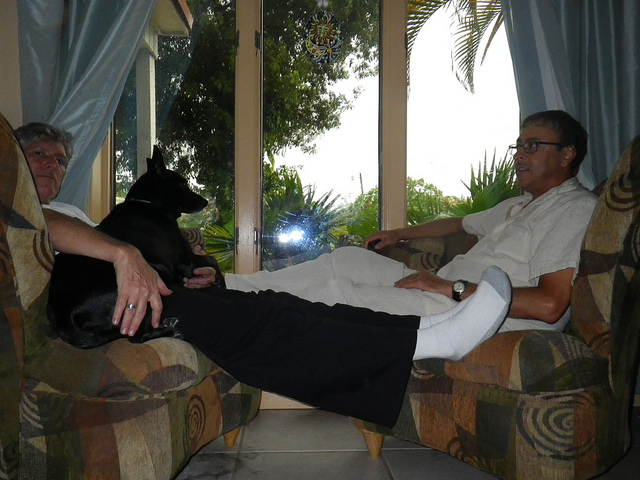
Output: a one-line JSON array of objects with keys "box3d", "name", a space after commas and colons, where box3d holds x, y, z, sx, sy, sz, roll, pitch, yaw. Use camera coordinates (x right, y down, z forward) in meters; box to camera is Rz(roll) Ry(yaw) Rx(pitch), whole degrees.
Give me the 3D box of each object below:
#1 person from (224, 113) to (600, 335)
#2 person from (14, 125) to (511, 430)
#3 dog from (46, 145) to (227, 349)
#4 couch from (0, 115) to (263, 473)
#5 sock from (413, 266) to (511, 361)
[{"box3d": [0.436, 0.029, 2.198, 1.460, 0.943, 0.856, 1, 20, 6], "name": "person"}, {"box3d": [-0.171, 0.184, 2.095, 1.623, 0.723, 0.660, 11, -7, 27], "name": "person"}, {"box3d": [-0.600, -0.021, 1.941, 0.449, 0.652, 0.695, 0, 5, 0], "name": "dog"}, {"box3d": [-0.432, 0.182, 2.077, 0.868, 1.262, 0.827, 4, 4, 0], "name": "couch"}, {"box3d": [0.474, 0.255, 1.828, 0.124, 0.272, 0.084, 29, 17, -23], "name": "sock"}]
